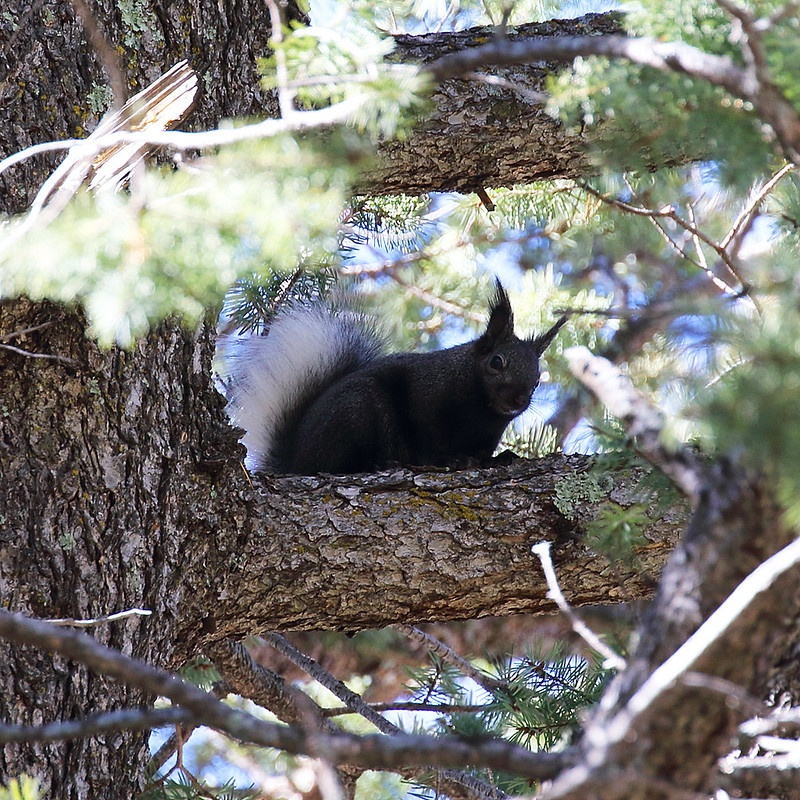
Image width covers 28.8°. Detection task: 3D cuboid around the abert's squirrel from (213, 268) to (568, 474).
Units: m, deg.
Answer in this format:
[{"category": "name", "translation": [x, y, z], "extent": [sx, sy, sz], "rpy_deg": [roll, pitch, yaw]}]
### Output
[{"category": "abert's squirrel", "translation": [-0.058, -0.069, 5.641], "extent": [1.330, 0.592, 0.819], "rpy_deg": [-7, 89, 1]}]
